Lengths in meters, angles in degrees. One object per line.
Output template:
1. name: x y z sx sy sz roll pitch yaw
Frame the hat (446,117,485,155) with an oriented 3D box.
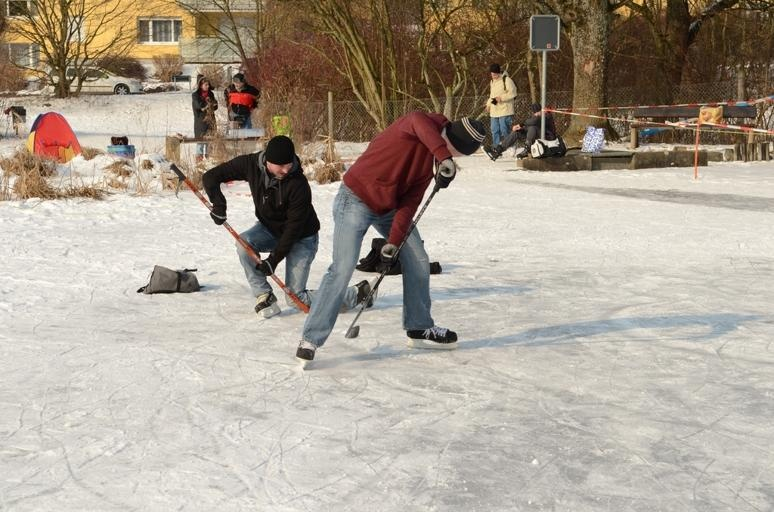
1. hat: 0.660 -0.899 5.791 0.181 0.215 0.108 19 -33 -9

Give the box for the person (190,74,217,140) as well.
1. person: -3.897 -3.157 16.620 0.488 1.400 1.948 -2 9 -13

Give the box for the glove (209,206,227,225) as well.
1. glove: -1.508 -0.348 6.885 0.136 0.063 0.182 24 5 -44

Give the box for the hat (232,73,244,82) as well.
1. hat: -3.205 -3.819 16.754 0.224 0.192 0.261 0 21 -5

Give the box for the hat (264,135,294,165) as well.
1. hat: -0.912 -0.872 6.585 0.257 0.232 0.257 2 27 -25

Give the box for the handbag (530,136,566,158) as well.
1. handbag: 3.444 -2.297 16.512 0.598 0.195 0.417 -9 17 -26

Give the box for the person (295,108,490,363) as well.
1. person: 0.049 -0.146 6.135 1.369 1.936 0.680 0 9 -1

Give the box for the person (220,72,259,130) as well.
1. person: -3.192 -3.414 17.187 0.754 1.231 1.224 -1 9 -11

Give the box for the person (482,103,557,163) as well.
1. person: 2.995 -2.600 16.925 0.921 1.248 1.693 -1 30 37

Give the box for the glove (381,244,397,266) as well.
1. glove: 0.011 -0.009 5.975 0.118 0.150 0.062 10 1 21

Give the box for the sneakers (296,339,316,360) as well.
1. sneakers: -0.625 0.729 6.000 0.152 0.173 0.136 0 9 -6

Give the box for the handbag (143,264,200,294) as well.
1. handbag: -2.151 0.231 7.809 0.438 0.153 0.317 1 3 -8

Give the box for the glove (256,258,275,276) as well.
1. glove: -1.058 0.089 6.792 0.135 0.099 0.072 26 6 -34

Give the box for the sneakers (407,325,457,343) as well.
1. sneakers: 0.376 0.639 6.539 0.403 0.151 0.149 -1 9 2
